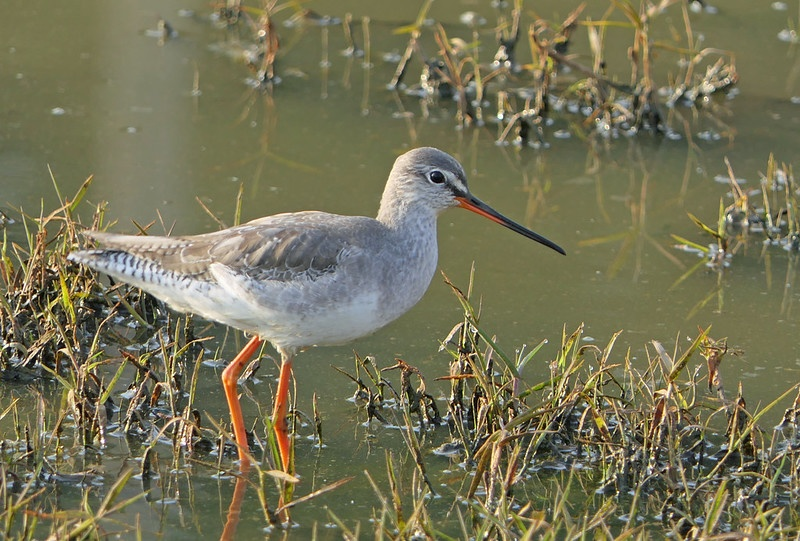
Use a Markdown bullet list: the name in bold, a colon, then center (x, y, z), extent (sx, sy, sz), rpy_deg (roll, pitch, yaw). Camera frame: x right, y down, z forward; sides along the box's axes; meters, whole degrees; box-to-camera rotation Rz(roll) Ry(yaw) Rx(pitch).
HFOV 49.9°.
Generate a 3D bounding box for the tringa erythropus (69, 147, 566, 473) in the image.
- **tringa erythropus**: center (-0.668, 0.411, 7.086), extent (2.807, 1.899, 0.844), rpy_deg (4, 16, 0)
